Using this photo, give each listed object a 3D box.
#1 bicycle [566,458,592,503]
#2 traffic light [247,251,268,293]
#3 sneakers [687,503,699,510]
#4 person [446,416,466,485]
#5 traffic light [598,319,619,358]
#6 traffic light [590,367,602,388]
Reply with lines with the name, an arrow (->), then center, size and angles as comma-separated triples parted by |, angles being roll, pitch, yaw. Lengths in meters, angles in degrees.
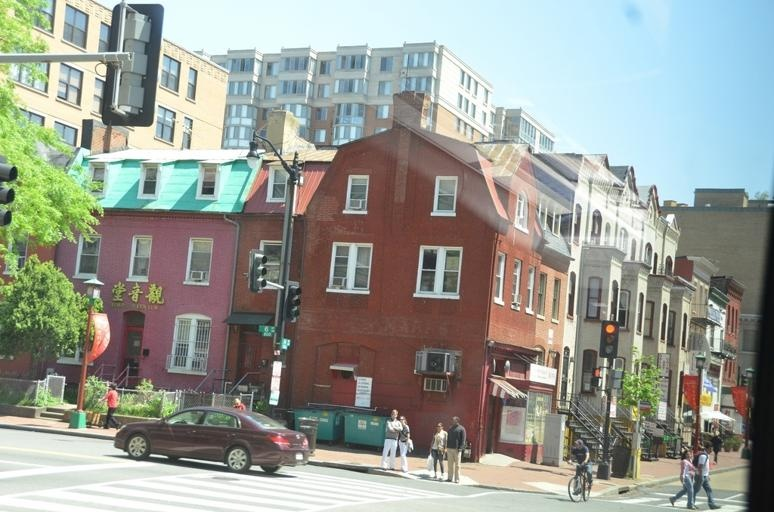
bicycle -> 6.858, 8.139, 34.352 | 0.725, 1.377, 1.301 | 1, -15, 12
traffic light -> -4.841, 0.439, 35.715 | 0.672, 1.546, 1.081 | 7, -15, -8
sneakers -> 10.724, 8.817, 33.721 | 0.420, 0.170, 0.135 | 1, -1, -39
person -> 2.535, 7.341, 36.516 | 0.613, 2.490, 1.155 | 3, -15, 7
traffic light -> 8.394, 3.084, 36.470 | 0.571, 1.346, 0.945 | 2, -15, 9
traffic light -> 8.421, 4.836, 38.754 | 0.373, 0.872, 1.187 | 1, -14, 14
